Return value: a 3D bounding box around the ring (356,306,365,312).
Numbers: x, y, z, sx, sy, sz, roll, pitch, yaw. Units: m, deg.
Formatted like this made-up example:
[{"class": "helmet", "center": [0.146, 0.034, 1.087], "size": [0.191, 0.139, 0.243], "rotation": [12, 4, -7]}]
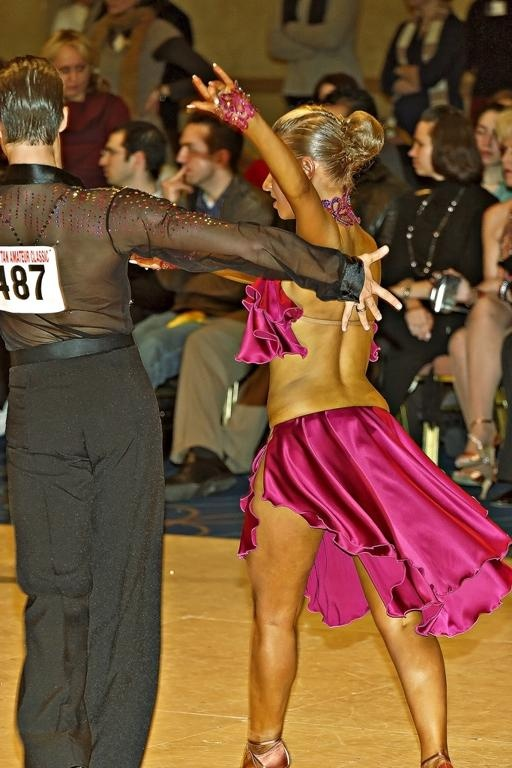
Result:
[{"class": "ring", "center": [0.213, -0.152, 1.501], "size": [0.013, 0.008, 0.012], "rotation": [2, 11, 15]}]
